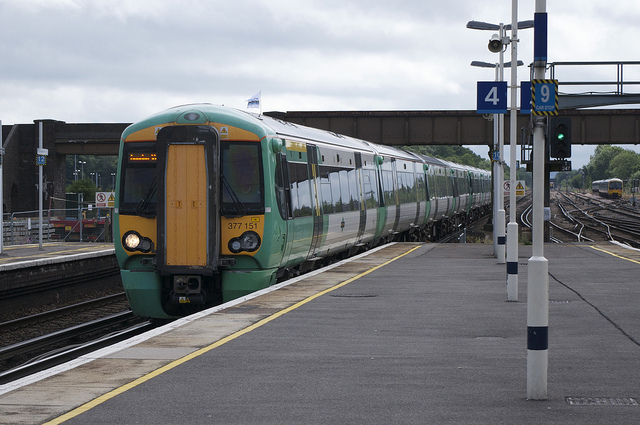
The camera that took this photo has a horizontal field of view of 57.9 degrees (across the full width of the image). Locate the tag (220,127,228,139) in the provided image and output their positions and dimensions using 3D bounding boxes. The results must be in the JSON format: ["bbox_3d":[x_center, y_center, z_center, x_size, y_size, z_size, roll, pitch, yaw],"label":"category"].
[{"bbox_3d":[-2.216,-1.847,13.315,0.257,0.379,0.045,0,0,-6],"label":"tag"}]

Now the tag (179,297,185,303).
[{"bbox_3d":[-3.135,1.989,13.190,0.157,0.152,0.088,1,-9,-1],"label":"tag"}]

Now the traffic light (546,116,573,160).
[{"bbox_3d":[3.090,-0.916,7.240,0.315,0.518,0.305,-3,-1,4],"label":"traffic light"}]

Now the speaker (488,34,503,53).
[{"bbox_3d":[6.237,-5.920,20.172,0.638,0.567,0.320,-1,1,-21],"label":"speaker"}]
